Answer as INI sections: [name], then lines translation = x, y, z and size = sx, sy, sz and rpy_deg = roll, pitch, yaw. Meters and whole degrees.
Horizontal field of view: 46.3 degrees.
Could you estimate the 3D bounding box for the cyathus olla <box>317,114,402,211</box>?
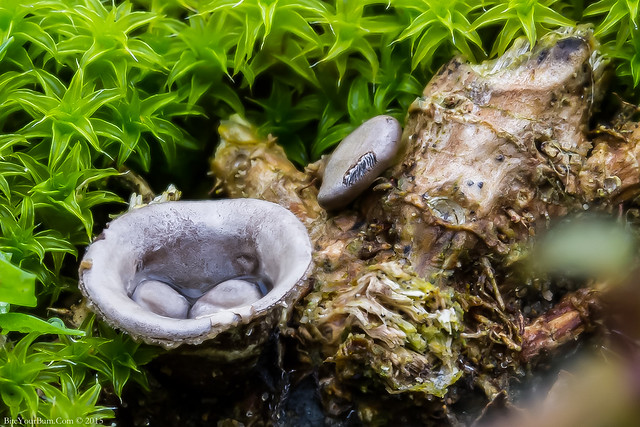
[cyathus olla]
translation = 0.177, -0.244, 3.491
size = 0.140, 0.312, 0.489
rpy_deg = 38, 79, -25
